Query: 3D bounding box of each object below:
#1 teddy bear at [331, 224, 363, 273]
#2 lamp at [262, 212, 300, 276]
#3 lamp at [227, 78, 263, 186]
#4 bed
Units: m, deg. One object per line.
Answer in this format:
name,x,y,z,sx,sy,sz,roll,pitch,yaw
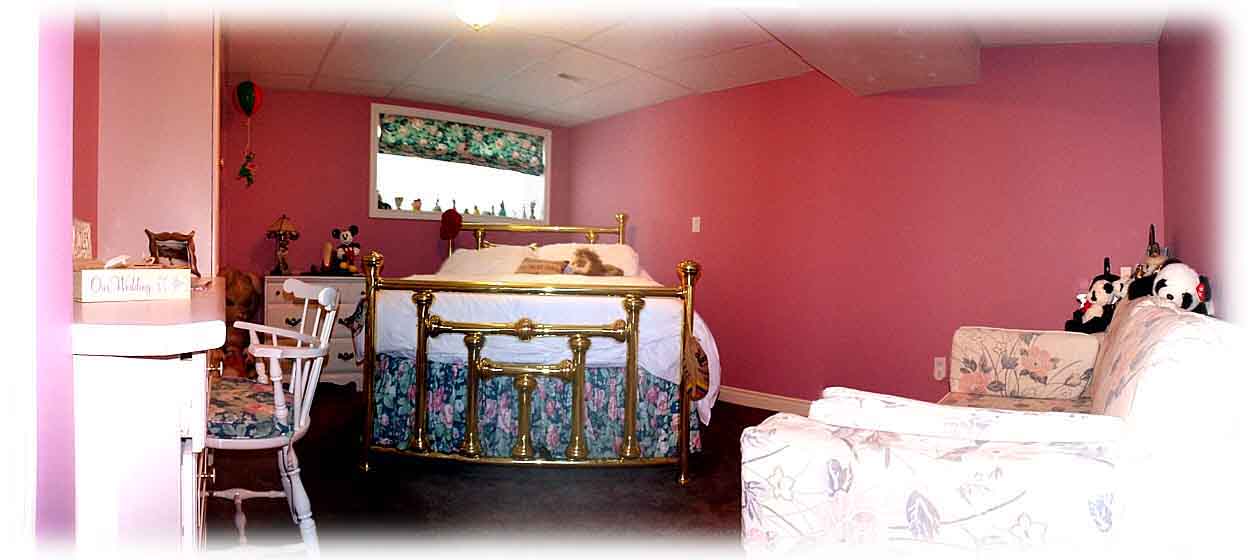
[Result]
teddy bear,-2.658,-0.301,7.331,0.279,0.481,0.464,1,1,-17
lamp,-3.180,-0.344,7.157,0.286,0.574,0.453,1,1,-23
lamp,-3.387,-1.326,6.879,0.212,0.966,0.799,1,1,-26
bed,-0.602,0.622,5.375,1.684,0.829,2.340,2,7,0
